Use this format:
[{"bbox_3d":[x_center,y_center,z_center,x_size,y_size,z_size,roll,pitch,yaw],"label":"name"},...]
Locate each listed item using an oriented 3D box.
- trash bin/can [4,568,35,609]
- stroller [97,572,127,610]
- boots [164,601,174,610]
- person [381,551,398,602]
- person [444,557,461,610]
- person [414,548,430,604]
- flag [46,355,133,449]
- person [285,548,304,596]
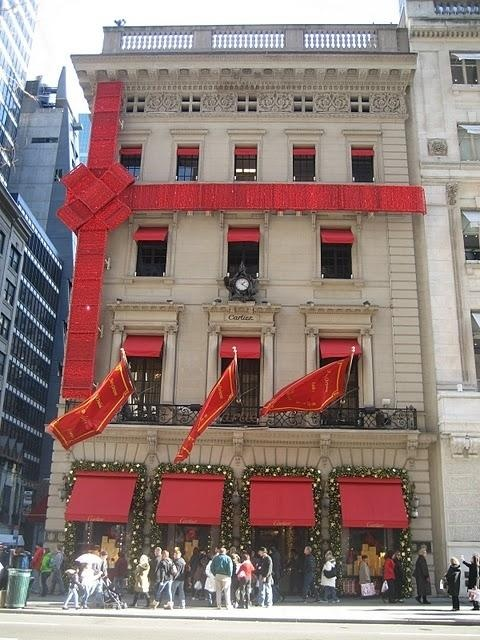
[{"bbox_3d":[-5.010,6.011,12.951,0.471,0.803,0.601,10,-24,-20],"label":"trash bin/can"},{"bbox_3d":[-3.294,6.849,14.723,0.663,0.822,1.992,5,-22,-10],"label":"stroller"},{"bbox_3d":[-1.795,7.152,14.517,0.207,0.226,0.680,4,-21,-8],"label":"boots"},{"bbox_3d":[4.483,7.717,17.334,0.443,1.386,1.811,-5,-22,13],"label":"person"},{"bbox_3d":[5.535,6.809,14.946,0.347,1.210,1.190,-6,-23,17],"label":"person"},{"bbox_3d":[5.479,7.703,17.455,0.414,1.535,2.407,-5,-22,15],"label":"person"},{"bbox_3d":[-4.754,2.736,18.773,2.184,2.726,0.884,-3,-23,10],"label":"flag"},{"bbox_3d":[1.818,8.449,19.436,0.659,1.467,0.321,-2,-23,7],"label":"person"}]
